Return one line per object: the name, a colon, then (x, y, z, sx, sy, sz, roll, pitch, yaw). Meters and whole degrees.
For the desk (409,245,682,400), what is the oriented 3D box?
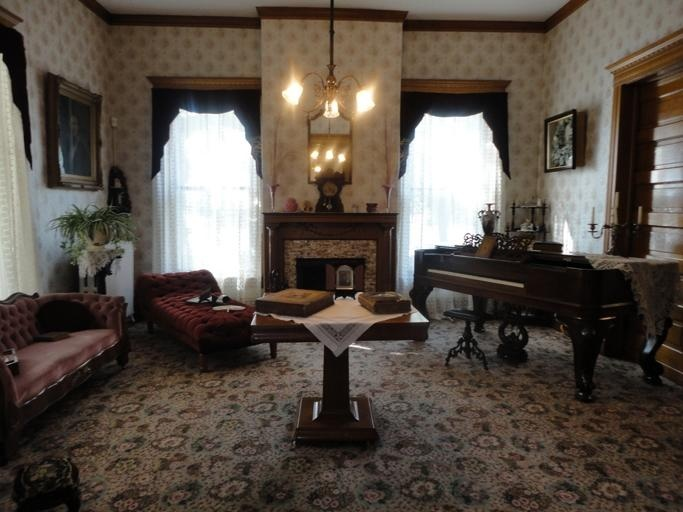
desk: (2.417, 0.366, 5.043, 1.540, 1.024, 2.019, -2, 5, -28)

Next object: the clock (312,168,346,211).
clock: (-0.200, -0.973, 6.926, 0.663, 0.850, 0.115, 0, -5, -6)

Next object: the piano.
piano: (2.408, 0.390, 5.070, 1.542, 1.025, 2.026, -2, 5, -27)

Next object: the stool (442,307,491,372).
stool: (1.387, 0.915, 5.481, 0.581, 0.779, 0.587, 0, 4, -2)

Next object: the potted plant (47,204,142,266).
potted plant: (-3.144, -0.277, 6.058, 0.852, 0.490, 0.756, 3, 2, 5)

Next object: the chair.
chair: (-1.731, 0.626, 5.768, 1.074, 0.642, 1.750, -6, 14, -37)

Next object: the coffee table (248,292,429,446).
coffee table: (0.026, 0.846, 4.203, 1.320, 0.925, 1.218, 0, 7, 0)
